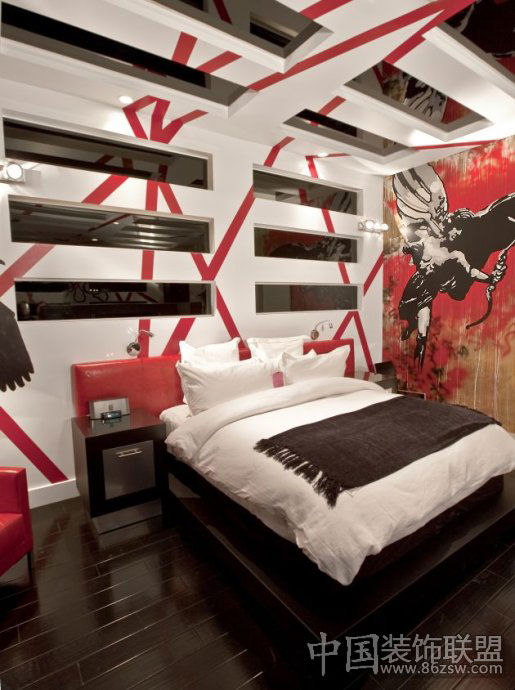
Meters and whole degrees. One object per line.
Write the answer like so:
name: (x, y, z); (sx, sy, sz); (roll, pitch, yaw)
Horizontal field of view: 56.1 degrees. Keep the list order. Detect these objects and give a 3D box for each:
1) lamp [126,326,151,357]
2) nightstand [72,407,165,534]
lamp: (-0.889, -0.012, 3.641); (0.114, 0.212, 0.267); (4, 12, 26)
nightstand: (-0.947, 0.743, 3.157); (0.578, 0.573, 0.600); (-9, 16, -30)
